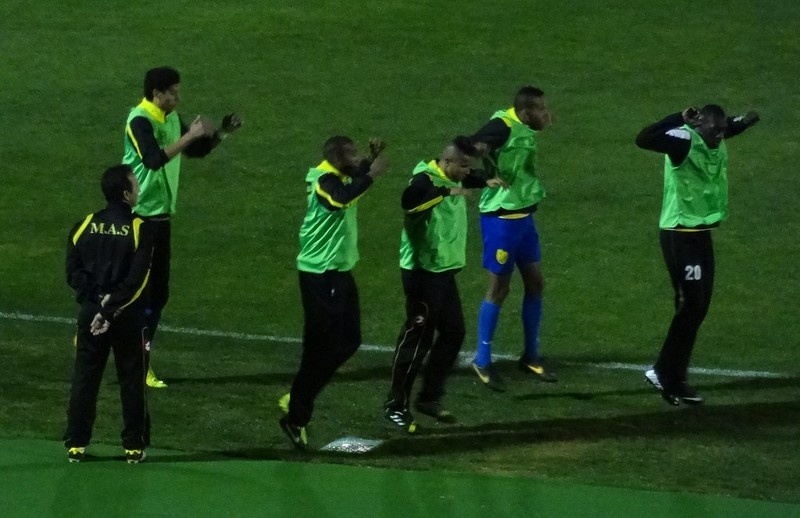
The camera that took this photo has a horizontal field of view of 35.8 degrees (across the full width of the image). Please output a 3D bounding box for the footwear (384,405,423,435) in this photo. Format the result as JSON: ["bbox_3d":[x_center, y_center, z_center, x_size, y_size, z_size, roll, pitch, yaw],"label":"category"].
[{"bbox_3d":[0.032,1.656,12.864,0.484,0.192,0.162,30,40,-18],"label":"footwear"}]

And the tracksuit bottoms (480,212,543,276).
[{"bbox_3d":[1.201,-0.241,13.814,0.804,0.688,0.492,-20,20,-41],"label":"tracksuit bottoms"}]

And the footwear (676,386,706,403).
[{"bbox_3d":[3.084,1.460,13.196,0.256,0.158,0.085,15,3,-12],"label":"footwear"}]

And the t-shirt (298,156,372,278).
[{"bbox_3d":[-0.627,-0.448,12.744,0.951,1.096,0.789,0,10,2],"label":"t-shirt"}]

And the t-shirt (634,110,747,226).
[{"bbox_3d":[3.185,-0.960,13.427,0.711,1.299,2.387,5,9,41],"label":"t-shirt"}]

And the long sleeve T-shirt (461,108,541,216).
[{"bbox_3d":[1.208,-1.025,13.846,0.747,1.099,1.221,-1,8,14],"label":"long sleeve T-shirt"}]

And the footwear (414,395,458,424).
[{"bbox_3d":[0.377,1.599,13.121,0.533,0.206,0.178,22,-11,10],"label":"footwear"}]

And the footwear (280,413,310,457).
[{"bbox_3d":[-1.067,1.751,12.678,0.287,0.332,0.329,-1,13,-6],"label":"footwear"}]

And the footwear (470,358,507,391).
[{"bbox_3d":[1.015,1.251,13.619,0.179,0.182,0.503,-15,35,-40],"label":"footwear"}]

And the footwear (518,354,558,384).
[{"bbox_3d":[1.501,1.219,13.861,0.544,0.193,0.178,23,40,22],"label":"footwear"}]

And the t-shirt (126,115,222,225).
[{"bbox_3d":[-2.462,-1.012,13.476,1.034,1.235,0.896,13,20,25],"label":"t-shirt"}]

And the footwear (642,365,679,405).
[{"bbox_3d":[2.784,1.378,13.278,0.511,0.175,0.218,44,-1,3],"label":"footwear"}]

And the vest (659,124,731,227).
[{"bbox_3d":[3.101,-0.888,13.097,0.782,1.127,1.030,5,12,37],"label":"vest"}]
